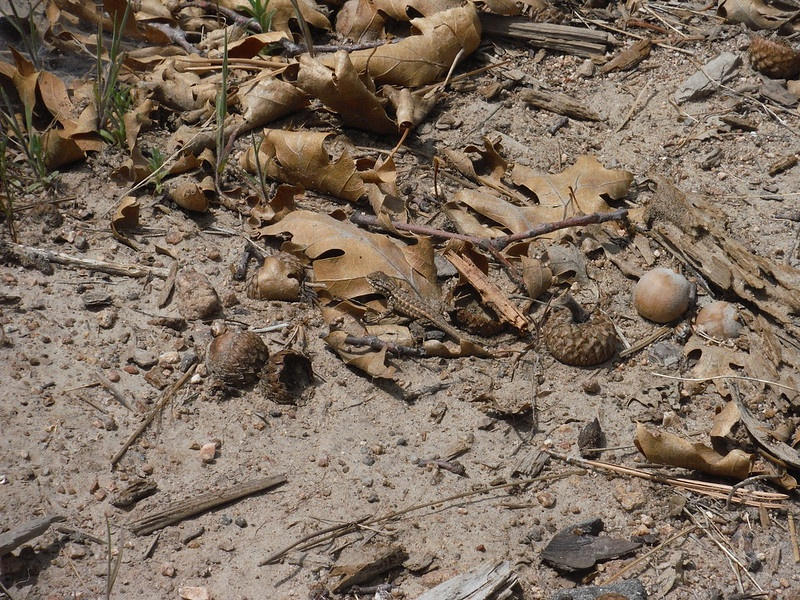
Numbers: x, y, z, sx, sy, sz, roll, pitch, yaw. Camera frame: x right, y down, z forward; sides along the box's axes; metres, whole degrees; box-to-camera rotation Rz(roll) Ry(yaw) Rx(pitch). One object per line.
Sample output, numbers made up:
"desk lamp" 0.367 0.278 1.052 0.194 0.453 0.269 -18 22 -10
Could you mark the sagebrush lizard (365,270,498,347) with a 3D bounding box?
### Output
"sagebrush lizard" 0.136 0.052 4.227 0.688 0.188 0.163 30 54 15
